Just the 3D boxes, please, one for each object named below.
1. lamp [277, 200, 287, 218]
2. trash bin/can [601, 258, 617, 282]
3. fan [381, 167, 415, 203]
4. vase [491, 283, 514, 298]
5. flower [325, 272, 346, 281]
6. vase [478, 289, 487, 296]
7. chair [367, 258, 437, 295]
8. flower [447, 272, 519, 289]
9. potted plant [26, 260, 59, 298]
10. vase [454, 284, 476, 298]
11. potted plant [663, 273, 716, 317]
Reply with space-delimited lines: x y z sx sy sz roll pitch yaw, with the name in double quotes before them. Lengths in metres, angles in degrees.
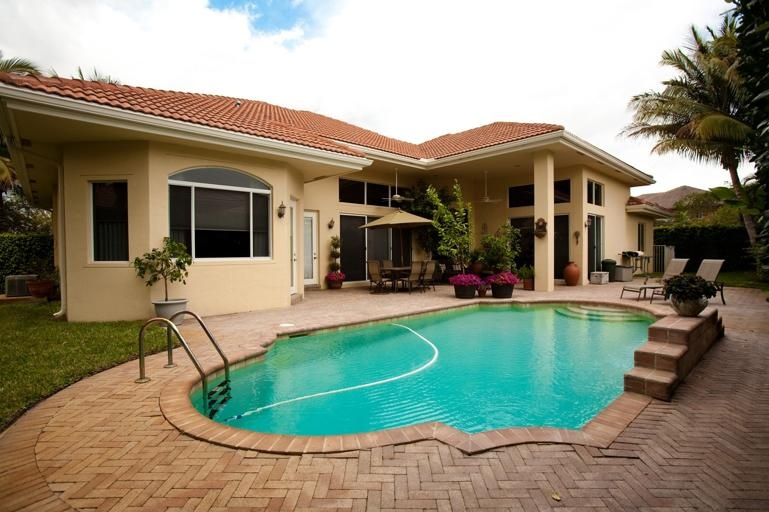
"lamp" -2.983 -1.338 13.203 0.263 0.348 0.127 -3 1 -24
"trash bin/can" 9.959 0.622 19.964 0.635 0.972 0.368 -2 1 11
"fan" 0.802 -2.956 19.455 1.490 1.487 1.411 -1 -4 -7
"vase" 3.890 1.131 14.827 0.557 0.334 0.528 1 -5 -2
"flower" -1.844 0.788 17.391 0.462 0.284 0.438 1 -2 -2
"vase" 3.326 1.227 15.219 0.268 0.179 0.256 0 -4 6
"chair" 0.766 0.756 17.243 2.228 1.104 2.759 -2 1 17
"flower" 3.320 0.782 14.930 2.095 0.429 0.530 -2 1 0
"potted plant" -12.232 0.842 16.353 1.049 1.532 0.914 -1 2 33
"vase" 2.668 1.160 14.869 0.518 0.295 0.514 -2 -3 27
"potted plant" 6.349 0.784 9.463 0.950 0.794 0.903 -3 1 3
